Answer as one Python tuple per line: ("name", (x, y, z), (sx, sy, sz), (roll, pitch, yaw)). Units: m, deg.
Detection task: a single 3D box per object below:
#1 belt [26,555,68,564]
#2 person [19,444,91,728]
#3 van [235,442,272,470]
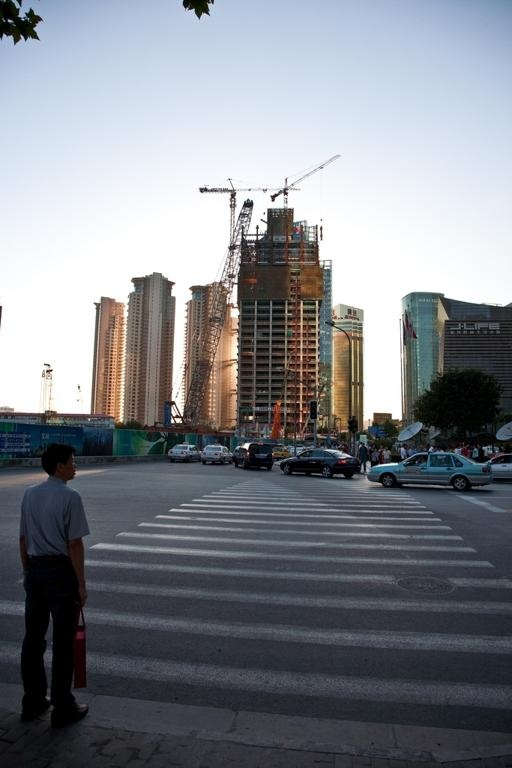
("belt", (-1.278, 1.070, 4.372), (0.242, 0.053, 0.053), (0, -3, 10))
("person", (-1.251, 1.213, 4.472), (0.497, 1.678, 0.304), (-2, -4, 29))
("van", (-0.147, 3.844, 38.699), (1.037, 0.857, 2.384), (1, 2, -9))
